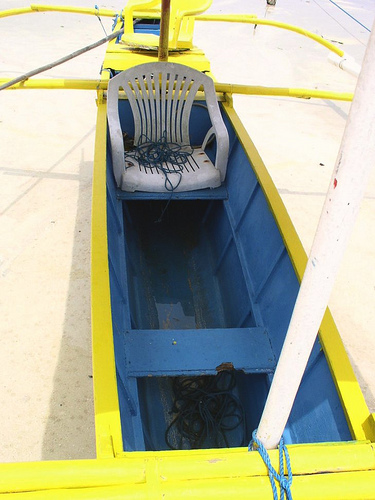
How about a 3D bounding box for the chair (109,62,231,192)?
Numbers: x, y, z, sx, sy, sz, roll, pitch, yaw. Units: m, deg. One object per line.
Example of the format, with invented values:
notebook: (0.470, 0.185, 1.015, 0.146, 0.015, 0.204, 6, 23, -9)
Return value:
chair: (-0.128, -0.884, 3.228, 0.861, 0.638, 1.007, -4, 67, -7)
